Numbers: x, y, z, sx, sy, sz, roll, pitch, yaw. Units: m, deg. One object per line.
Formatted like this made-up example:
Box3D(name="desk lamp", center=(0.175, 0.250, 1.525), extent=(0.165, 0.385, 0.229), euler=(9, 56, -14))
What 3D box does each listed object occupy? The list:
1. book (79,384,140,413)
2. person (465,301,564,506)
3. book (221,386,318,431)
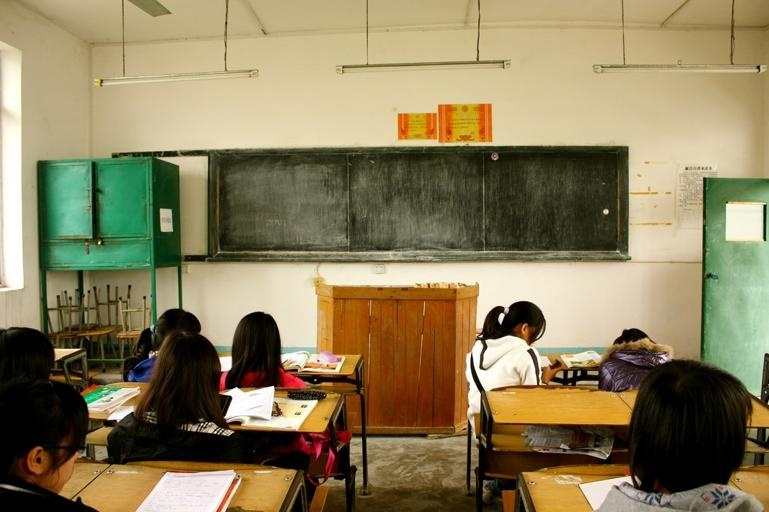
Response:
Box3D(name="book", center=(-2.059, 1.039, 4.966), extent=(0.262, 0.063, 0.269), euler=(3, 9, 12))
Box3D(name="person", center=(0.955, 0.898, 5.263), extent=(0.611, 1.067, 0.430), euler=(-1, 3, 7))
Box3D(name="book", center=(-0.827, 1.093, 4.740), extent=(0.398, 0.073, 0.342), euler=(7, 16, 4))
